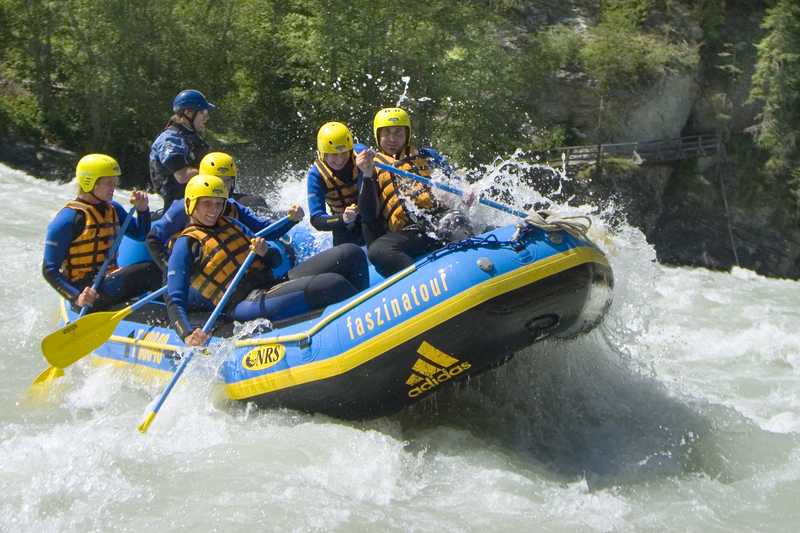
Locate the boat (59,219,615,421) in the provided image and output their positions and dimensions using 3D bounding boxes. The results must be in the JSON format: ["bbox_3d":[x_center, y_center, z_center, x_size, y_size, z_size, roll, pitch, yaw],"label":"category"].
[{"bbox_3d":[0.021,0.986,12.924,4.842,1.461,2.896,-26,-9,14],"label":"boat"}]

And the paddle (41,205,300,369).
[{"bbox_3d":[-3.705,0.372,14.193,0.587,0.289,4.327,42,44,14],"label":"paddle"}]

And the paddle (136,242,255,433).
[{"bbox_3d":[-2.891,1.086,12.939,0.233,3.089,0.324,34,-23,-10],"label":"paddle"}]

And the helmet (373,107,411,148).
[{"bbox_3d":[-0.100,-2.018,13.305,0.547,0.462,0.582,0,-8,-32],"label":"helmet"}]

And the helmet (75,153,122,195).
[{"bbox_3d":[-4.805,-1.363,13.762,0.512,0.495,0.607,-9,-12,39],"label":"helmet"}]
